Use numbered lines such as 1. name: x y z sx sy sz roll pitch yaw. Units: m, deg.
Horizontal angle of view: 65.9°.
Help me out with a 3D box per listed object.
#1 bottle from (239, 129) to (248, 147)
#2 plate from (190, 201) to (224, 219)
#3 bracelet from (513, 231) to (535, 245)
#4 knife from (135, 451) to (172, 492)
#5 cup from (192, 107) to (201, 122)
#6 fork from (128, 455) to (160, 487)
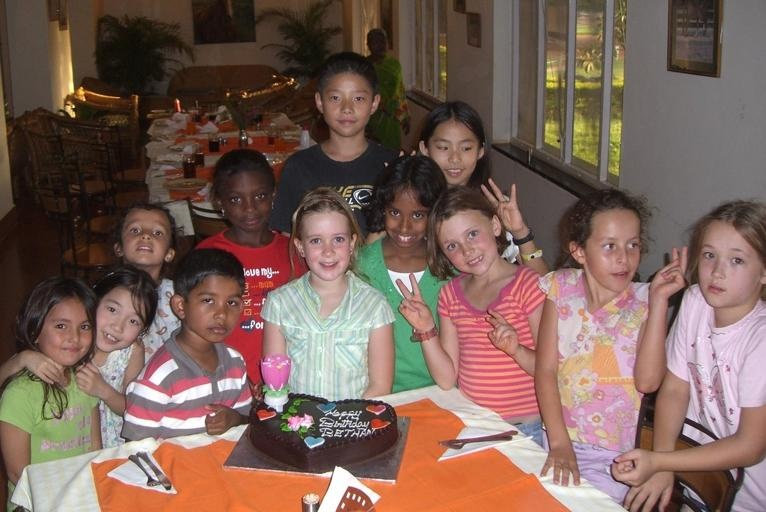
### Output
1. bottle: -1.420 -1.200 5.997 0.096 0.193 0.312 -5 6 -13
2. plate: -1.287 -0.334 4.283 0.169 0.040 0.174 11 18 -36
3. bracelet: 0.719 -0.086 3.030 0.075 0.081 0.079 9 -8 -30
4. knife: -0.787 0.731 2.019 0.065 0.012 0.223 -1 17 -38
5. cup: -2.342 -1.771 7.373 0.100 0.198 0.288 -5 6 -16
6. fork: -0.810 0.711 2.017 0.055 0.019 0.163 -6 29 -39
